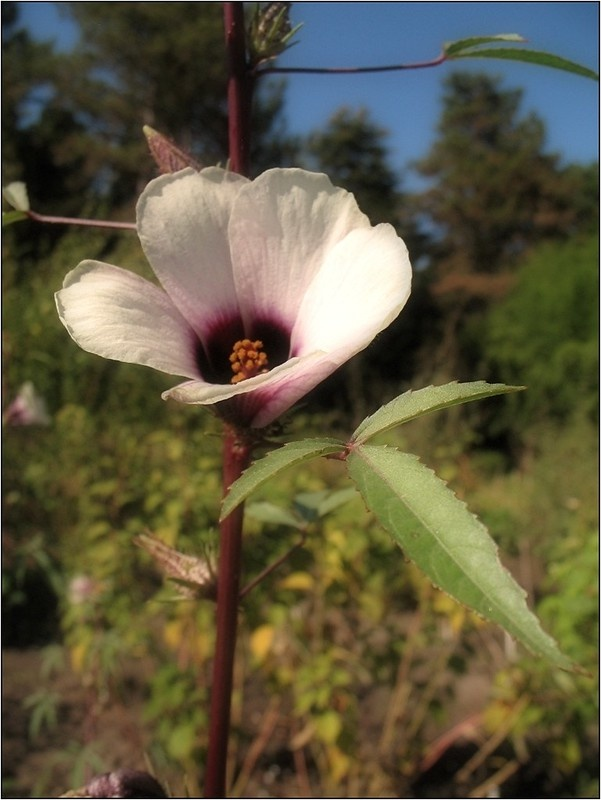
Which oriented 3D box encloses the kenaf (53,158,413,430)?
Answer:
[{"bbox_3d":[-0.041,-0.090,0.996,0.362,0.356,0.171,36,-17,18],"label":"kenaf"}]
